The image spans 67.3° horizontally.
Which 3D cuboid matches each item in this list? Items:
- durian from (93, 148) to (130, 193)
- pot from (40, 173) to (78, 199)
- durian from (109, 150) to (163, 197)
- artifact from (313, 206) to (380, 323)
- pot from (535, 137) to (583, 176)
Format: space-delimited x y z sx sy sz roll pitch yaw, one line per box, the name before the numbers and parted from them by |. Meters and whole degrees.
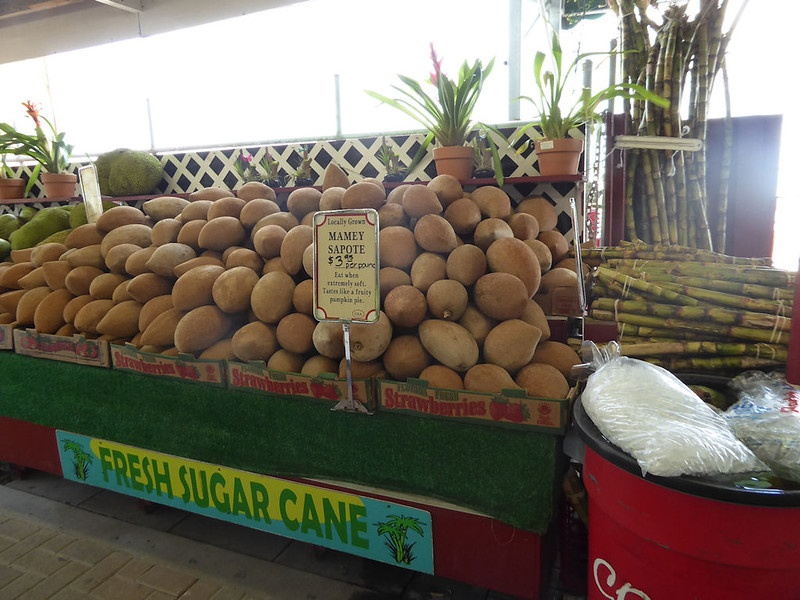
durian | -2.347 -1.046 4.828 0.211 0.280 0.364 -10 46 -32
pot | -2.928 -0.981 5.195 0.264 0.183 0.248 4 16 -1
durian | -2.101 -1.062 4.842 0.421 0.341 0.329 2 32 14
artifact | -0.217 -0.138 2.436 0.286 0.447 0.132 2 15 10
pot | 0.958 -0.857 3.640 0.245 0.176 0.251 -1 10 0
